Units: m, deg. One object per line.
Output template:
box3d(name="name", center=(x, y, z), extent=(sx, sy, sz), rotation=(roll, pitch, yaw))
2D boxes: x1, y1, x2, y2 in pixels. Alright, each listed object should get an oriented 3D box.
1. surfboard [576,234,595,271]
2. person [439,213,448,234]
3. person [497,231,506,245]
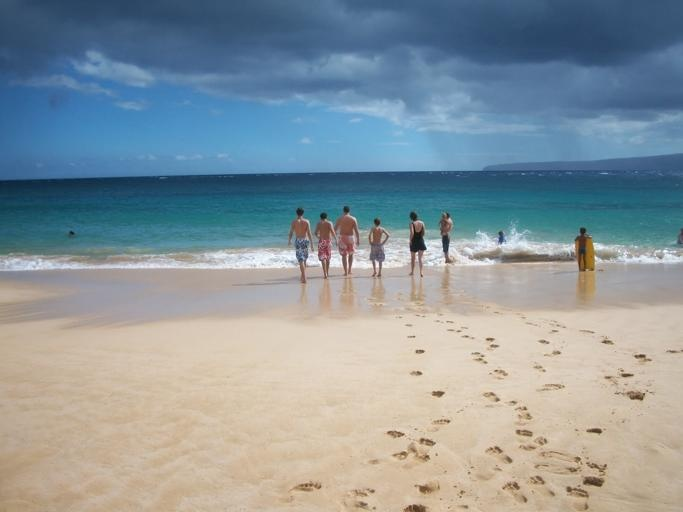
box3d(name="surfboard", center=(6.386, -0.080, 14.506), extent=(0.441, 0.908, 0.372), rotation=(2, 9, 20))
box3d(name="person", center=(3.014, -0.941, 16.276), extent=(0.261, 0.676, 0.709), rotation=(0, 9, 8))
box3d(name="person", center=(5.487, -0.649, 19.013), extent=(0.271, 0.459, 0.923), rotation=(2, 9, 16))
